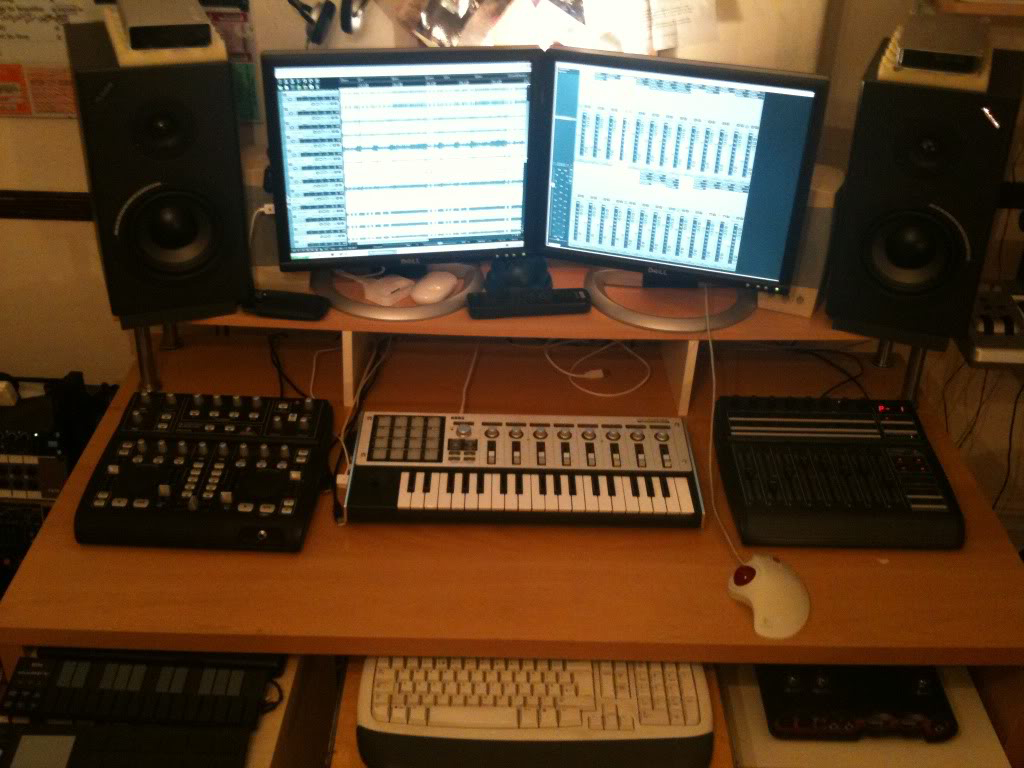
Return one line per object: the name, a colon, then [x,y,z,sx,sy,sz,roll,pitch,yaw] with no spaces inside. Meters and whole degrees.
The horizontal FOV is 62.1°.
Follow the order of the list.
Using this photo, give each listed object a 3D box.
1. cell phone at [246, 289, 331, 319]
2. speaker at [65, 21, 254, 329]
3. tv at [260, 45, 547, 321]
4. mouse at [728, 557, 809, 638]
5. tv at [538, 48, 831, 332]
cell phone: [-0.495,-0.182,1.875,0.141,0.076,0.032,4,-47,3]
speaker: [-0.695,-0.400,1.830,0.395,0.402,0.529,2,-81,43]
tv: [-0.242,-0.444,1.832,0.584,0.283,0.530,-2,-50,-6]
mouse: [0.492,0.391,1.606,0.136,0.189,0.050,-19,-56,4]
tv: [0.375,-0.426,1.824,0.583,0.211,0.562,9,-48,8]
